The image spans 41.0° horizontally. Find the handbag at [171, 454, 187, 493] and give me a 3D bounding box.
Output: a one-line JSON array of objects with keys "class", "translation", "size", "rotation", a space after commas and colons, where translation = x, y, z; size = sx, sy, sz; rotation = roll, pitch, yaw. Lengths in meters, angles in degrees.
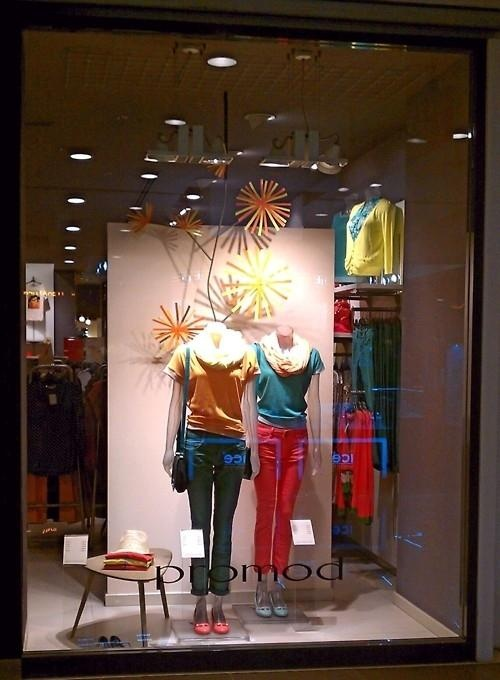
[{"class": "handbag", "translation": [-0.285, 0.542, 2.693], "size": [0.049, 0.176, 0.074], "rotation": [0, -1, -32]}]

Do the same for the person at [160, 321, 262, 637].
[{"class": "person", "translation": [-0.145, 0.539, 2.668], "size": [0.355, 1.207, 0.155], "rotation": [0, 0, -9]}]

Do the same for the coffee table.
[{"class": "coffee table", "translation": [-0.546, 1.051, 2.674], "size": [0.284, 0.244, 0.279], "rotation": [14, -21, -6]}]

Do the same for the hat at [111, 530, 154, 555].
[{"class": "hat", "translation": [-0.462, 0.815, 2.681], "size": [0.111, 0.061, 0.089], "rotation": [3, -27, 5]}]

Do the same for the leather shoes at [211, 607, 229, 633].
[{"class": "leather shoes", "translation": [-0.113, 1.110, 2.620], "size": [0.039, 0.046, 0.112], "rotation": [3, -6, -11]}]
